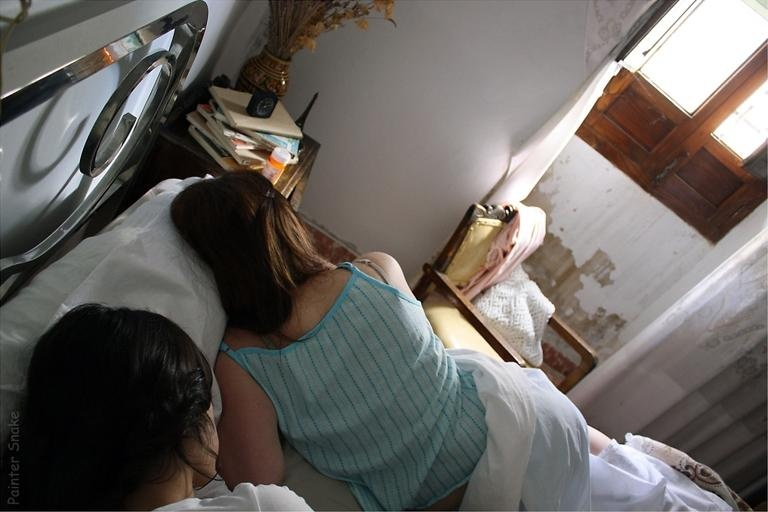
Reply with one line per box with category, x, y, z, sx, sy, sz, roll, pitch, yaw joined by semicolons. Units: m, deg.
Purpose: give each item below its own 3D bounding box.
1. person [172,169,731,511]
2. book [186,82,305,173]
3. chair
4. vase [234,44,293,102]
person;0.088;0.383;1.660;1.369;0.871;1.073;5;31;-1
book;-0.580;-0.531;2.019;0.410;0.142;0.407;30;27;-16
chair;0.634;0.174;2.467;0.618;0.932;0.550;49;47;10
vase;-0.561;-0.923;2.304;0.199;0.205;0.192;10;34;-5
